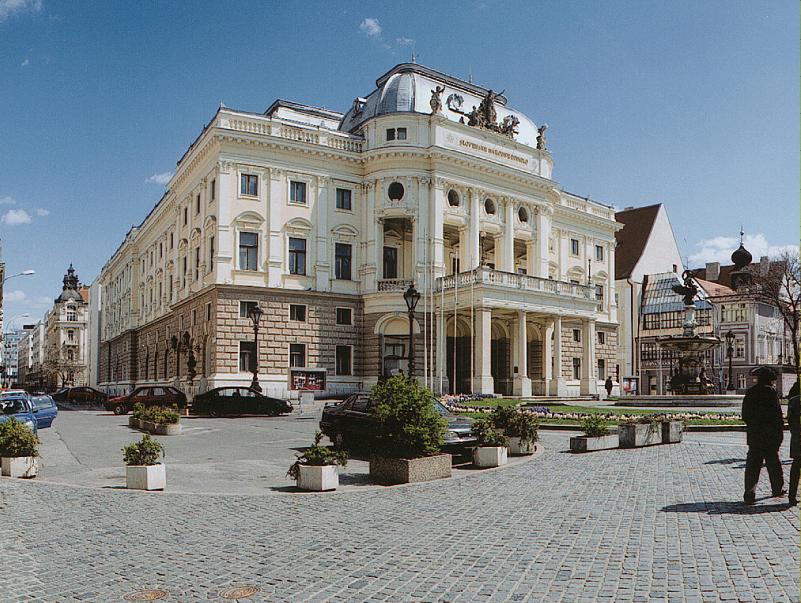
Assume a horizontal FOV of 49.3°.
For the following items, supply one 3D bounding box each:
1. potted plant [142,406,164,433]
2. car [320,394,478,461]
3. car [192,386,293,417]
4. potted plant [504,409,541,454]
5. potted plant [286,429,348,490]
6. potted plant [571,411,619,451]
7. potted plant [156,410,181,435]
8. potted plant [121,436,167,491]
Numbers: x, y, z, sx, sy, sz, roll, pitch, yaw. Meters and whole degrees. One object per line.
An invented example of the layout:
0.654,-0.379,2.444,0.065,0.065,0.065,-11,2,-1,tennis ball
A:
-8.724,4.159,30.534,0.303,0.830,1.443,5,-5,-34,potted plant
-0.163,3.460,23.426,1.931,1.516,4.290,5,-9,-36,car
-7.608,4.854,41.344,3.952,1.213,1.754,-1,-4,-11,car
3.244,3.460,23.033,0.924,1.166,0.515,1,-2,-28,potted plant
-1.779,3.430,18.672,1.019,1.148,0.793,-1,-2,32,potted plant
5.436,3.644,24.245,1.557,0.982,0.908,3,-6,-40,potted plant
-8.034,4.227,30.326,0.732,1.052,0.991,1,-2,-25,potted plant
-5.429,3.424,18.563,0.882,1.143,0.803,0,-2,-18,potted plant
